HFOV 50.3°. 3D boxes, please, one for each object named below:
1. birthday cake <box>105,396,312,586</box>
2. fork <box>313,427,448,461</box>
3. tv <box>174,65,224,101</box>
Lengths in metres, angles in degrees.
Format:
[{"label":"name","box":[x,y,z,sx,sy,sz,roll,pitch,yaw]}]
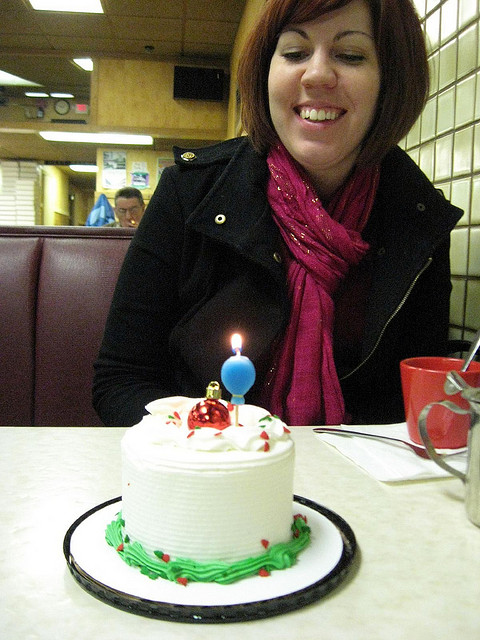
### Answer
[{"label":"birthday cake","box":[-0.028,0.107,0.421,0.143,0.100,0.143,1,10,0]},{"label":"fork","box":[0.207,0.185,0.749,0.225,0.026,0.038,4,43,13]},{"label":"tv","box":[-0.478,-2.651,5.744,0.412,0.277,0.055,2,5,-8]}]
